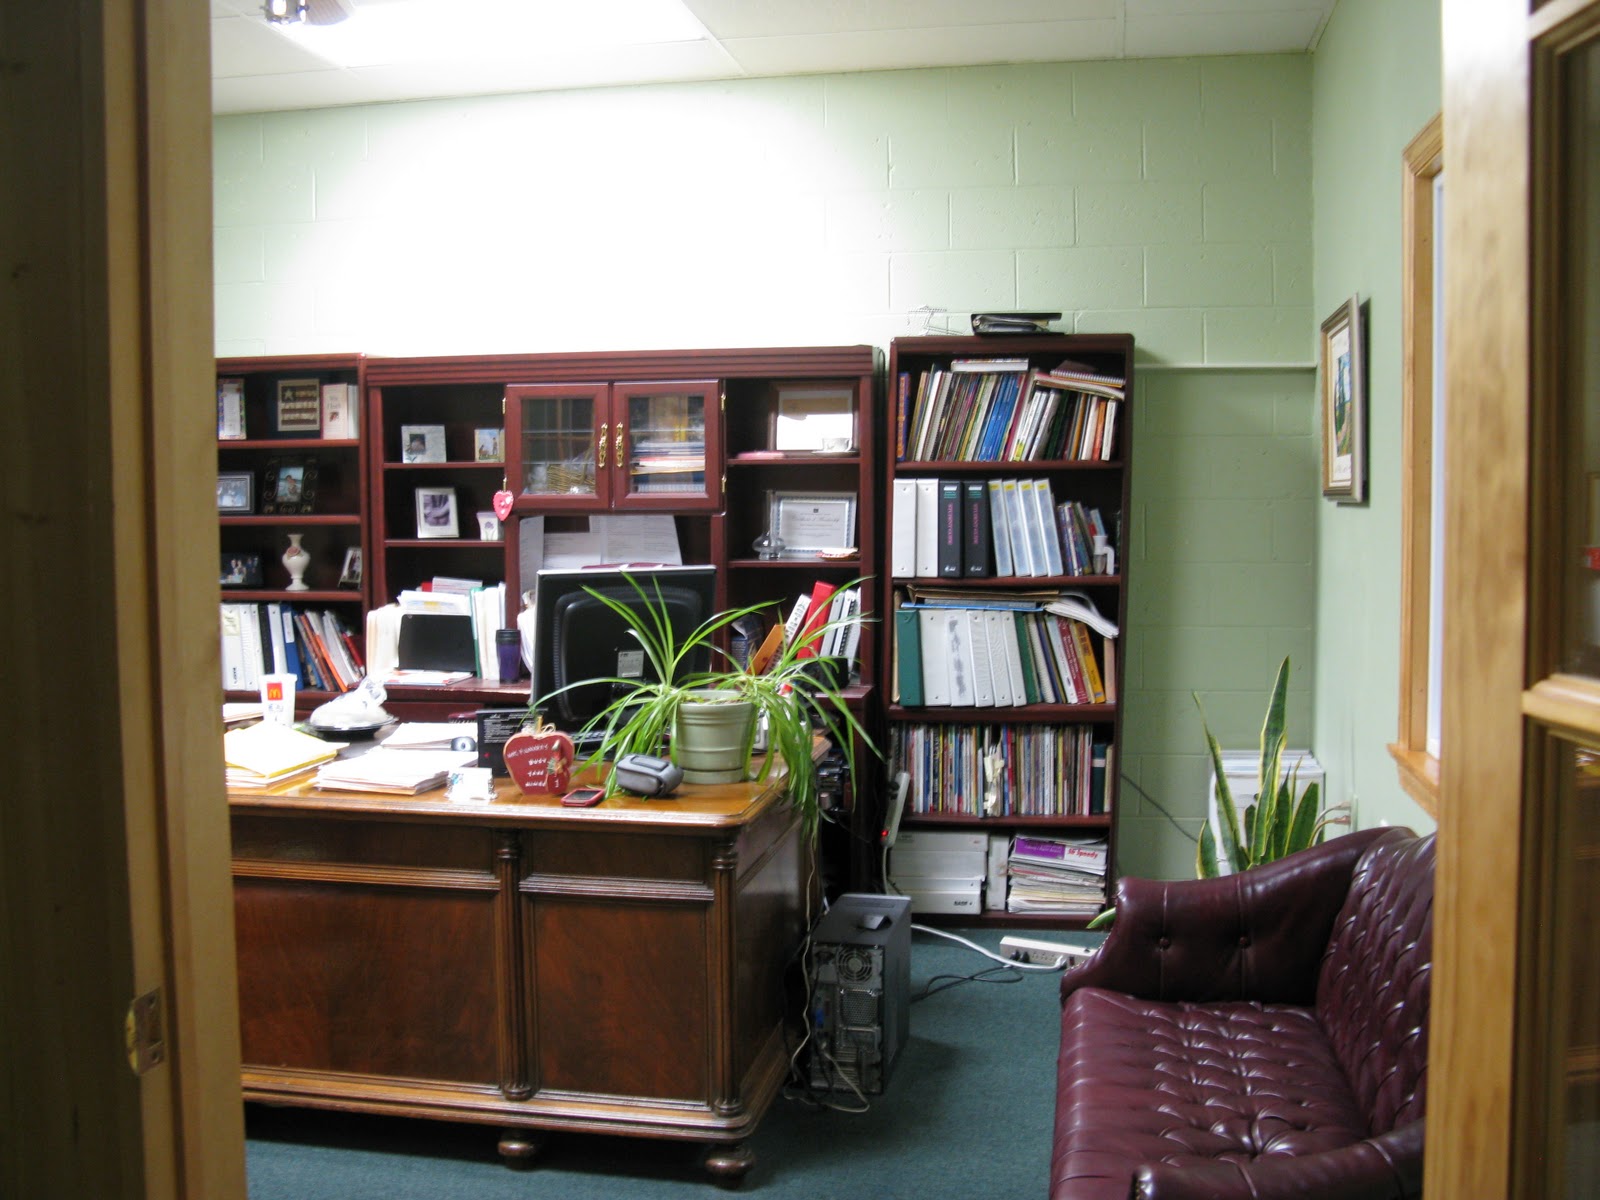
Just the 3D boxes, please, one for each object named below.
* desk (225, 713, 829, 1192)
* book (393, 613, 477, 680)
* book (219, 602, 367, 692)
[{"bbox_3d":[-0.603,0.660,3.241,0.915,0.583,0.946,1,4,10],"label":"desk"},{"bbox_3d":[-1.283,0.169,4.914,0.318,0.233,0.197,3,6,4],"label":"book"},{"bbox_3d":[-1.814,0.183,4.927,0.321,0.323,0.119,-1,3,3],"label":"book"}]
